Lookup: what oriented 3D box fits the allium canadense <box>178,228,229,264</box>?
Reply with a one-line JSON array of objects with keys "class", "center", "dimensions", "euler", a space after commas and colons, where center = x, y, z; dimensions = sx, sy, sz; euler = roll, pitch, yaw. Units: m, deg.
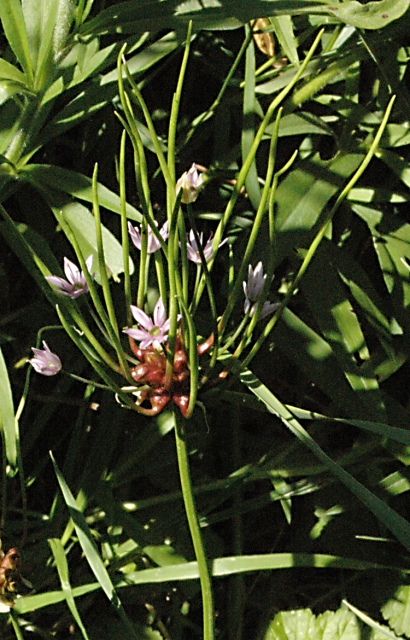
[{"class": "allium canadense", "center": [-0.001, -0.057, 0.488], "dimensions": [0.031, 0.021, 0.033], "euler": [-16, -30, 40]}]

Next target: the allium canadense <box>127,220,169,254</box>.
[{"class": "allium canadense", "center": [-0.048, -0.066, 0.487], "dimensions": [0.028, 0.018, 0.031], "euler": [5, 20, 9]}]

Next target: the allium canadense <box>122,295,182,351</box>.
[{"class": "allium canadense", "center": [-0.041, 0.003, 0.483], "dimensions": [0.034, 0.018, 0.039], "euler": [-5, 45, -18]}]

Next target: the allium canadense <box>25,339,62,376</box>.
[{"class": "allium canadense", "center": [-0.149, 0.035, 0.569], "dimensions": [0.026, 0.030, 0.030], "euler": [15, 26, -9]}]

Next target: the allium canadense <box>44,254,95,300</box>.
[{"class": "allium canadense", "center": [-0.101, -0.035, 0.488], "dimensions": [0.034, 0.018, 0.040], "euler": [-41, -4, 28]}]

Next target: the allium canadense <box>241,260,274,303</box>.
[{"class": "allium canadense", "center": [0.040, -0.032, 0.479], "dimensions": [0.026, 0.033, 0.030], "euler": [8, 16, 7]}]

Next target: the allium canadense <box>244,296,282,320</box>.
[{"class": "allium canadense", "center": [0.048, -0.009, 0.495], "dimensions": [0.020, 0.013, 0.019], "euler": [-2, -14, 45]}]
